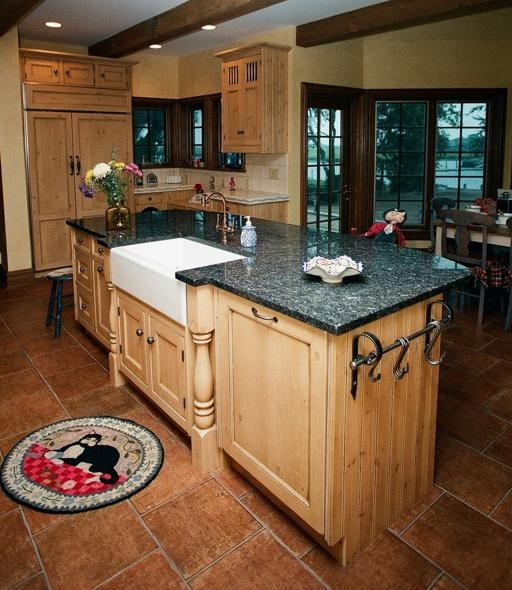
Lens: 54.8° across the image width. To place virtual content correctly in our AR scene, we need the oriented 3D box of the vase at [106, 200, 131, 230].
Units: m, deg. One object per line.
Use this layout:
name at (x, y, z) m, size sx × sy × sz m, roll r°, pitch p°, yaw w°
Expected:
vase at (-0.925, -0.527, 3.297) m, size 0.161 × 0.176 × 0.208 m, roll -6°, pitch 17°, yaw -15°

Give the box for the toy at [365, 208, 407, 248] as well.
toy at (0.733, -0.391, 2.825) m, size 0.207 × 0.201 × 0.515 m, roll 2°, pitch 16°, yaw 12°

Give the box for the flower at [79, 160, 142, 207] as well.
flower at (-0.972, -0.754, 3.363) m, size 0.349 × 0.310 × 0.340 m, roll -1°, pitch 16°, yaw 2°

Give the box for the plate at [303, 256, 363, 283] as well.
plate at (0.281, -0.089, 1.843) m, size 0.202 × 0.080 × 0.150 m, roll 0°, pitch 16°, yaw 6°

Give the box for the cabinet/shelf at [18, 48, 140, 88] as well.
cabinet/shelf at (-1.923, -2.457, 5.437) m, size 1.252 × 0.342 × 0.109 m, roll -15°, pitch 21°, yaw -40°

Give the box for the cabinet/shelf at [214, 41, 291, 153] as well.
cabinet/shelf at (-0.013, -2.030, 5.247) m, size 0.424 × 1.040 × 0.691 m, roll -14°, pitch 21°, yaw -36°
